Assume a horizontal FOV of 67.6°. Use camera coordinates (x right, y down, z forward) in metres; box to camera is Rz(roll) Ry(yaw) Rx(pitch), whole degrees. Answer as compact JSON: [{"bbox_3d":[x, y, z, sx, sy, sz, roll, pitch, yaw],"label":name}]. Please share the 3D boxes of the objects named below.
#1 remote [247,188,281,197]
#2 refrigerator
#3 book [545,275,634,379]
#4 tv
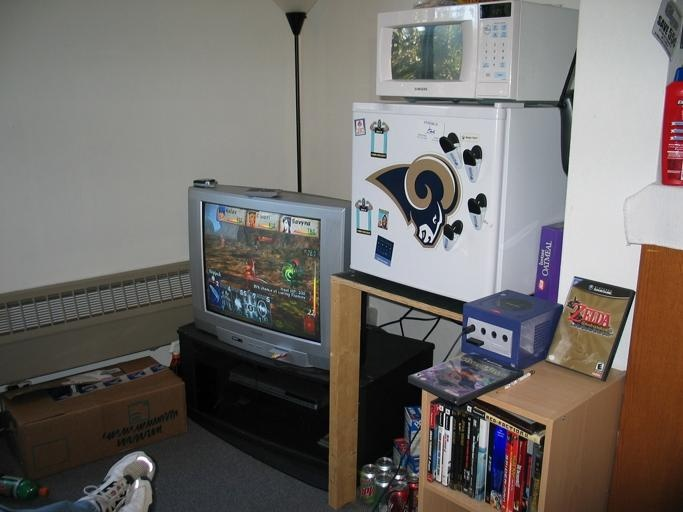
[{"bbox_3d":[-0.380,-0.314,2.539,0.179,0.032,0.115,7,17,28],"label":"remote"},{"bbox_3d":[0.402,-0.199,2.150,0.656,0.966,0.905,-9,13,-39],"label":"refrigerator"},{"bbox_3d":[0.834,0.250,1.694,0.228,0.426,0.044,17,-4,41],"label":"book"},{"bbox_3d":[-0.343,0.103,2.501,0.734,0.721,0.414,12,18,30],"label":"tv"}]
